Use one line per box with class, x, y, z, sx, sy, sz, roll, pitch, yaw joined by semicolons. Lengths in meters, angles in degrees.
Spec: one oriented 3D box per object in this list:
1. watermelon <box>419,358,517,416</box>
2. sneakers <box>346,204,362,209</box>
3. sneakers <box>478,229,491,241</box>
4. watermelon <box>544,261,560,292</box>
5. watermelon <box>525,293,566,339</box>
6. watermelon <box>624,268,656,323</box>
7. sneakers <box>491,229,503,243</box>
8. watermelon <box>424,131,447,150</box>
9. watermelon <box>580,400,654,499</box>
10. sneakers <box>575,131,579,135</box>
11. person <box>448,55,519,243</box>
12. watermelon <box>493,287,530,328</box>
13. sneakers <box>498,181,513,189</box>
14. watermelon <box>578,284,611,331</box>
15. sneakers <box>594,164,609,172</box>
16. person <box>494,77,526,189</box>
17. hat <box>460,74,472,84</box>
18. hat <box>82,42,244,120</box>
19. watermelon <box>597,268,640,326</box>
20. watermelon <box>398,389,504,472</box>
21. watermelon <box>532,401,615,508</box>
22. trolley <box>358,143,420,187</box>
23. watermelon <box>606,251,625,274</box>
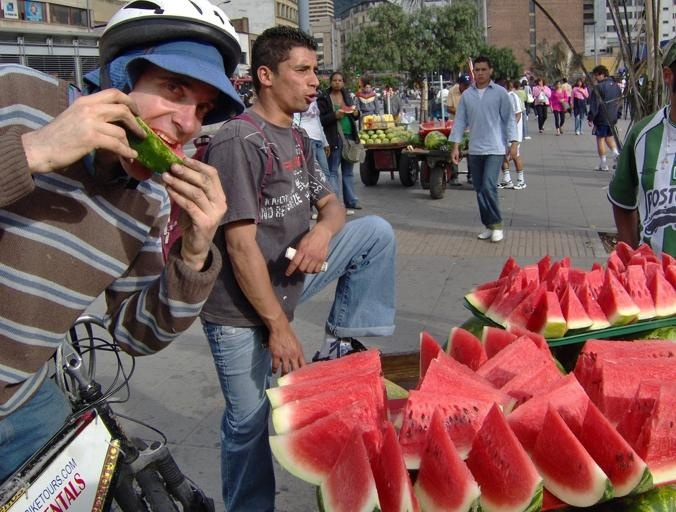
watermelon;0.372;0.360;1.424;0.207;0.080;0.153;32;-14;2
sneakers;0.351;-1.043;10.639;0.310;0.161;0.117;-2;13;-18
sneakers;2.427;-0.344;8.254;0.252;0.126;0.106;-5;13;-24
watermelon;1.014;0.086;2.351;0.039;0.153;0.093;4;-26;-6
watermelon;0.889;0.220;2.076;0.091;0.188;0.181;4;16;0
watermelon;1.323;0.169;2.212;0.113;0.240;0.050;-5;-9;-25
sneakers;2.596;-0.330;8.035;0.218;0.209;0.165;-2;10;-5
watermelon;2.289;-2.687;11.654;0.437;0.431;0.604;-5;12;-17
watermelon;0.646;0.449;1.232;0.086;0.238;0.159;-19;-12;5
sneakers;11.571;-5.861;23.925;0.193;0.177;0.216;3;4;19
person;2.391;-1.730;8.111;0.936;3.003;0.779;1;9;29
watermelon;0.768;0.207;2.182;0.087;0.169;0.343;-8;-19;3
sneakers;4.174;-1.771;12.416;0.431;0.215;0.162;10;35;29
watermelon;1.103;0.217;2.153;0.051;0.175;0.113;-22;-30;29
sneakers;7.437;-2.450;13.997;0.180;0.206;0.445;-1;11;1
person;4.088;-2.980;11.878;0.776;2.796;0.787;5;13;37
hat;3.059;-4.195;11.928;0.199;0.167;0.296;-3;19;0
hat;-0.558;-0.621;1.718;0.353;0.220;0.290;21;-7;-5
watermelon;1.220;0.187;2.156;0.132;0.221;0.159;-11;14;-43
watermelon;0.286;0.437;1.274;0.239;0.202;0.104;10;-23;-10
watermelon;0.551;0.495;1.218;0.084;0.236;0.161;-16;-8;6
trolley;1.469;-2.510;13.589;1.932;1.264;1.846;-8;14;-25
watermelon;1.376;0.034;2.452;0.033;0.056;0.094;13;-31;46
